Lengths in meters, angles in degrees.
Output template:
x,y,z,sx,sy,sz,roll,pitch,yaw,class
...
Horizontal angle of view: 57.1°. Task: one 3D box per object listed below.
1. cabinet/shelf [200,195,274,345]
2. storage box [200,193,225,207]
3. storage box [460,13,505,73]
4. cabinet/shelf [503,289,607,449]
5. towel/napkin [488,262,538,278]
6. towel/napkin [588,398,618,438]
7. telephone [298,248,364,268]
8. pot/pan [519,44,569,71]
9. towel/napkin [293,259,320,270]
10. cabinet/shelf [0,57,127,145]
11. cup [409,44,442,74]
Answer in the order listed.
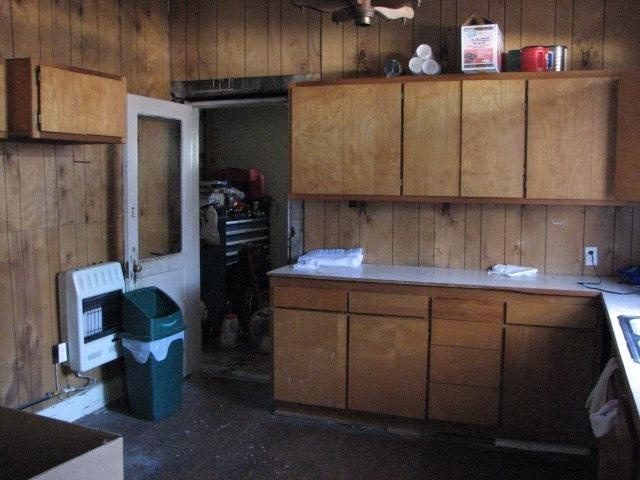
x,y,z,sx,sy,sz,roll,pitch,yaw,class
-0.850,0.239,6.279,0.598,1.345,1.201,2,12,11,cabinet/shelf
-1.103,-0.415,5.951,0.246,0.131,0.175,-2,12,-10,storage box
1.114,-1.278,4.028,0.297,0.452,0.416,1,9,18,storage box
1.700,0.837,4.546,0.787,1.559,0.866,1,2,14,cabinet/shelf
1.392,0.224,4.241,0.350,0.063,0.291,4,13,16,towel/napkin
1.435,0.898,2.977,0.120,0.210,0.180,6,13,28,towel/napkin
0.063,0.128,4.534,0.506,0.134,0.239,-1,12,-4,telephone
1.538,-1.248,4.049,0.204,0.135,0.216,-4,15,-11,pot/pan
-0.109,0.180,4.434,0.201,0.073,0.124,-1,12,-3,towel/napkin
-1.647,-0.866,3.713,0.179,0.367,0.638,0,1,23,cabinet/shelf
0.745,-1.276,4.222,0.210,0.225,0.355,4,7,11,cup
